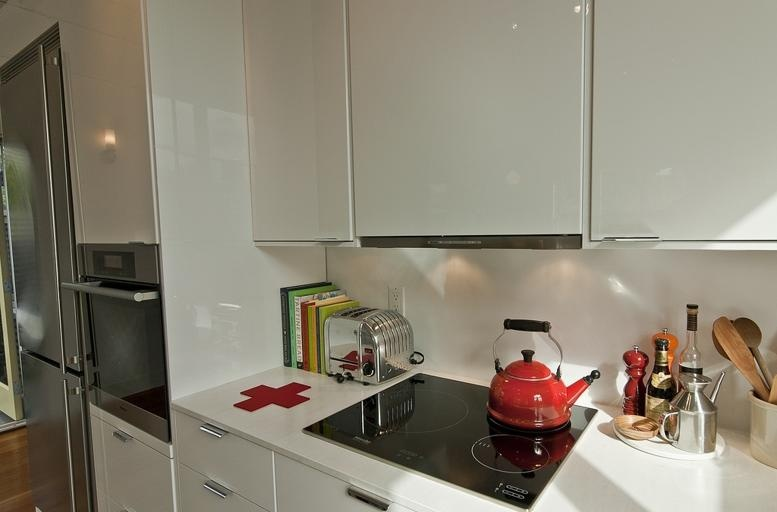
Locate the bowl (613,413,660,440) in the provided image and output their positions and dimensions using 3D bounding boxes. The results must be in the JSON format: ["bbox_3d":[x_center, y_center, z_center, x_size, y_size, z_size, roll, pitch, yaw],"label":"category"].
[{"bbox_3d":[0.980,0.673,2.281,0.095,0.041,0.091,-8,7,1],"label":"bowl"}]

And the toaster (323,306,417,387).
[{"bbox_3d":[-0.098,0.430,2.882,0.431,0.324,0.286,2,8,42],"label":"toaster"}]

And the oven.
[{"bbox_3d":[-1.186,0.352,2.767,0.439,0.986,0.488,-4,7,-39],"label":"oven"}]

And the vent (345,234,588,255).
[{"bbox_3d":[0.392,-0.057,2.315,0.620,0.067,0.284,9,9,41],"label":"vent"}]
